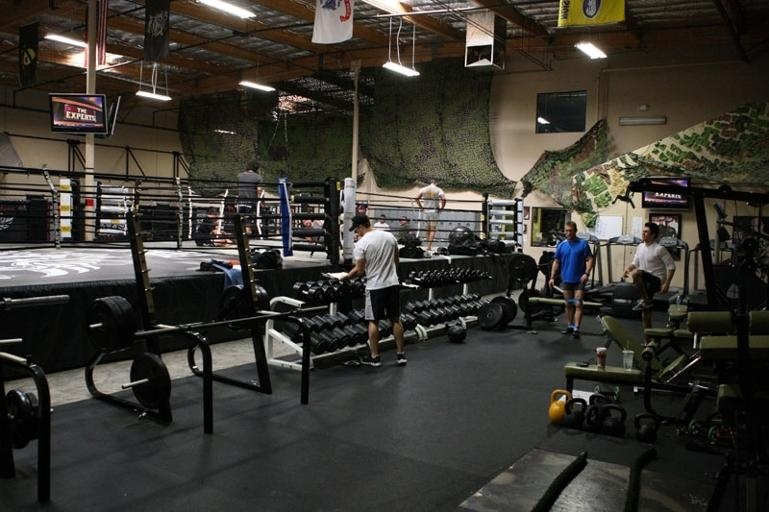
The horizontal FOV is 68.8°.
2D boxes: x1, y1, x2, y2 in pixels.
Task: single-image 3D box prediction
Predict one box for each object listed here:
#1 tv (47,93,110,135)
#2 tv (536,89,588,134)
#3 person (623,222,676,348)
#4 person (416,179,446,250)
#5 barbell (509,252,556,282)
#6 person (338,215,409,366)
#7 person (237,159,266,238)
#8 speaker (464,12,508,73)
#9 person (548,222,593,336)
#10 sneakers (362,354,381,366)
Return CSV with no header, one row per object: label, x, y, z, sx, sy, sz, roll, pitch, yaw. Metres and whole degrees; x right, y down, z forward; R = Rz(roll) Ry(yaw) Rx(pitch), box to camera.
tv,-7.081,-3.309,13.041,1.201,0.918,0.422,-1,10,-13
tv,5.833,-4.571,18.156,1.608,1.327,1.883,7,11,26
person,4.378,0.335,9.290,0.707,1.750,0.797,6,11,24
person,1.154,-1.099,14.924,0.724,2.085,0.900,0,0,14
barbell,2.596,0.234,10.842,0.664,0.406,0.918,3,-3,-20
person,-0.073,0.481,8.156,0.975,2.032,0.709,0,1,37
person,-2.948,-1.286,12.400,0.528,1.740,0.481,23,34,20
speaker,2.612,-5.555,14.489,1.003,1.409,0.592,3,10,7
person,3.362,0.431,10.004,0.688,2.011,0.806,0,1,38
sneakers,-0.206,1.508,8.054,0.314,0.135,0.136,1,-1,40
